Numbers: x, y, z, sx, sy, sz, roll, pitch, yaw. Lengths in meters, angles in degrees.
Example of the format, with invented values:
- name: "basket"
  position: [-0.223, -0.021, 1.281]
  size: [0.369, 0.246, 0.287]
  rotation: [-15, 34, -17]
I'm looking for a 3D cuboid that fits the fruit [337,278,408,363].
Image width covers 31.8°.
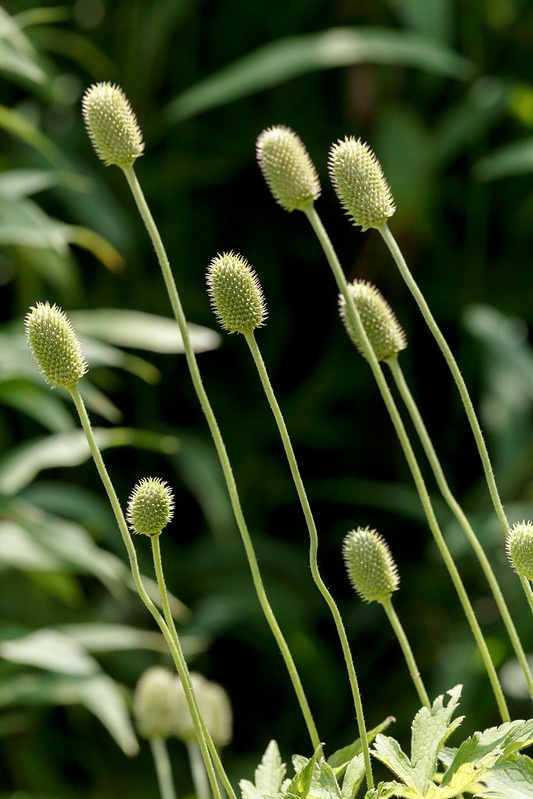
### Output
- name: "fruit"
  position: [0.070, -0.058, 0.706]
  size: [0.043, 0.069, 0.029]
  rotation: [-36, -5, 28]

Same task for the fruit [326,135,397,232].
- name: "fruit"
  position: [0.070, -0.156, 0.677]
  size: [0.043, 0.088, 0.049]
  rotation: [-8, -45, -13]

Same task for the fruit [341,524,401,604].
- name: "fruit"
  position: [0.076, 0.116, 0.660]
  size: [0.028, 0.049, 0.029]
  rotation: [-4, -1, 11]

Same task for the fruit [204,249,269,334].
- name: "fruit"
  position: [-0.016, -0.080, 0.671]
  size: [0.044, 0.074, 0.049]
  rotation: [-14, -69, 7]
